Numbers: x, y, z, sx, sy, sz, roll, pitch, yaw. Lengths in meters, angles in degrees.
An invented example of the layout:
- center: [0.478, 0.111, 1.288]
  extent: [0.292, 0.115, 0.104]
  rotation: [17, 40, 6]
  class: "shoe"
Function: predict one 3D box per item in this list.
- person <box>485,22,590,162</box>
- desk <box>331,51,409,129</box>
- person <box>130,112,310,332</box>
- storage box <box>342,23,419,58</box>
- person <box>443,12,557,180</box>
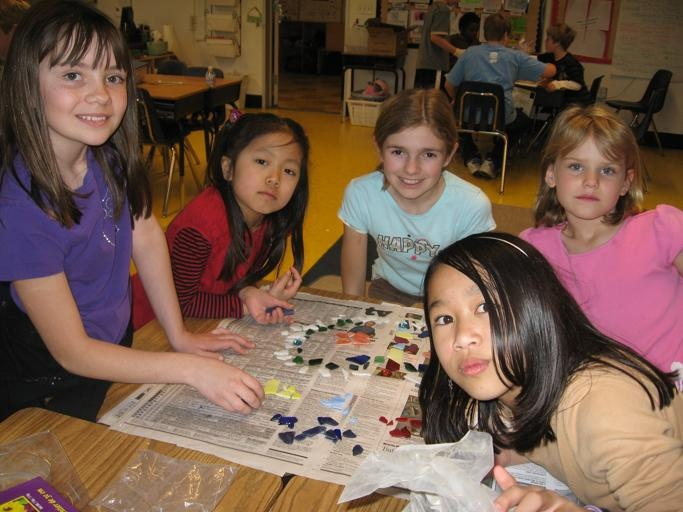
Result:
- center: [2.733, -2.158, 6.790]
  extent: [0.919, 1.381, 0.670]
  rotation: [0, 29, 16]
  class: "person"
- center: [0.446, -2.594, 8.044]
  extent: [0.839, 0.926, 0.662]
  rotation: [1, 18, 4]
  class: "desk"
- center: [-0.379, -0.151, 2.000]
  extent: [0.456, 0.779, 0.495]
  rotation: [9, 13, -16]
  class: "person"
- center: [0.408, -3.201, 7.853]
  extent: [1.018, 0.424, 0.781]
  rotation: [9, 25, 16]
  class: "storage box"
- center: [1.803, -1.800, 6.066]
  extent: [1.186, 1.821, 0.901]
  rotation: [14, 34, 28]
  class: "person"
